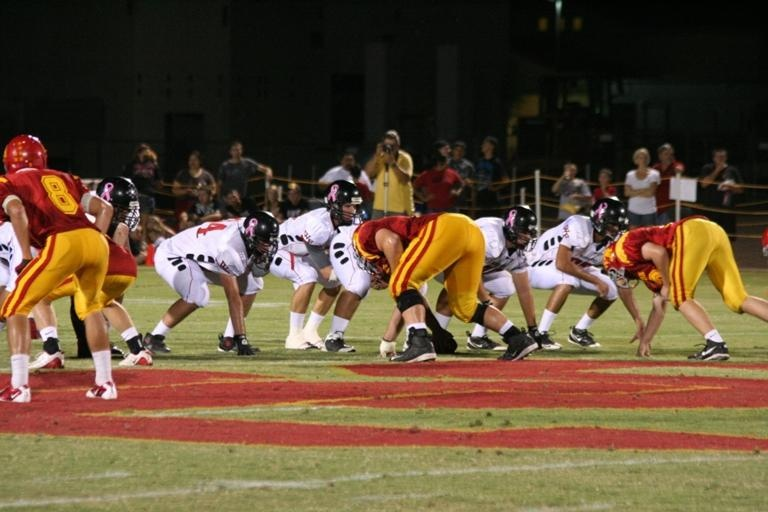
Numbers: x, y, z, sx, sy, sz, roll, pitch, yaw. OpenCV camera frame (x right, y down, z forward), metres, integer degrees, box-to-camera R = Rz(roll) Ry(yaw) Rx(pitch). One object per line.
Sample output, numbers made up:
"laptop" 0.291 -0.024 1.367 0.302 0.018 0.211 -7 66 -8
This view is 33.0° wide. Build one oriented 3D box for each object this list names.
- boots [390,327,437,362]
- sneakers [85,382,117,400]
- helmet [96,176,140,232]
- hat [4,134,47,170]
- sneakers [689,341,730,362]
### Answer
"boots" 0.206 0.892 13.025 0.607 0.343 0.214 -5 3 -30
"sneakers" -2.507 1.199 11.540 0.254 0.094 0.142 5 3 43
"helmet" -2.611 -0.529 12.890 0.624 0.505 0.431 6 6 -7
"hat" -3.296 -0.965 11.943 0.332 0.333 0.392 -4 18 -16
"sneakers" 3.256 0.976 13.302 0.528 0.199 0.164 -1 -2 10
